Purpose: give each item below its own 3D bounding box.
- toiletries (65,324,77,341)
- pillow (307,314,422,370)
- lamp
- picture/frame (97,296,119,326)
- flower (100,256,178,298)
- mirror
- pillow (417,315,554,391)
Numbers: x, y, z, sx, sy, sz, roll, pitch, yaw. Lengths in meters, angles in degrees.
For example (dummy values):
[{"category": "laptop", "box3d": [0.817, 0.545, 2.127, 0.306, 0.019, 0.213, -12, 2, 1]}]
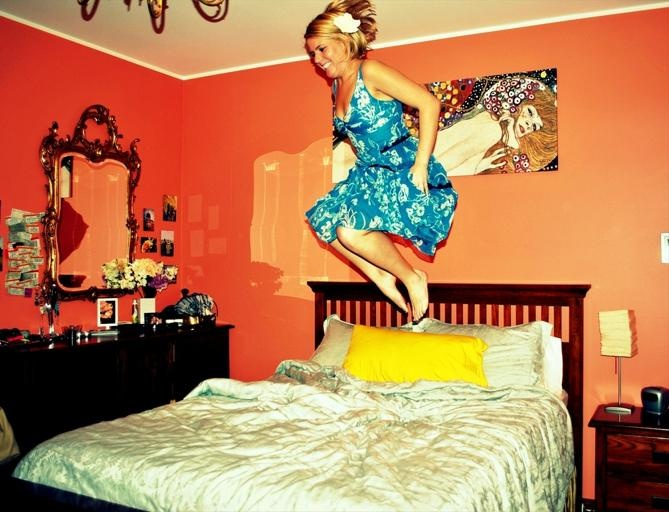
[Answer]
[{"category": "toiletries", "box3d": [-1.632, 0.484, 3.895, 0.070, 0.090, 0.080, 2, -3, -3]}, {"category": "pillow", "box3d": [0.052, 0.583, 4.018, 0.360, 0.409, 0.122, 3, -47, 23]}, {"category": "lamp", "box3d": [1.679, 0.605, 3.727, 0.226, 0.607, 0.303, 6, 11, 26]}, {"category": "picture/frame", "box3d": [-1.580, 0.387, 4.340, 0.179, 0.271, 0.019, 2, -4, -30]}, {"category": "flower", "box3d": [-1.375, 0.132, 4.484, 0.288, 0.203, 0.322, 0, 1, 3]}, {"category": "mirror", "box3d": [-1.702, -0.369, 4.362, 0.234, 1.342, 0.887, 5, 11, 24]}, {"category": "pillow", "box3d": [0.965, 0.571, 3.672, 0.455, 0.447, 0.151, 0, -49, 11]}]
